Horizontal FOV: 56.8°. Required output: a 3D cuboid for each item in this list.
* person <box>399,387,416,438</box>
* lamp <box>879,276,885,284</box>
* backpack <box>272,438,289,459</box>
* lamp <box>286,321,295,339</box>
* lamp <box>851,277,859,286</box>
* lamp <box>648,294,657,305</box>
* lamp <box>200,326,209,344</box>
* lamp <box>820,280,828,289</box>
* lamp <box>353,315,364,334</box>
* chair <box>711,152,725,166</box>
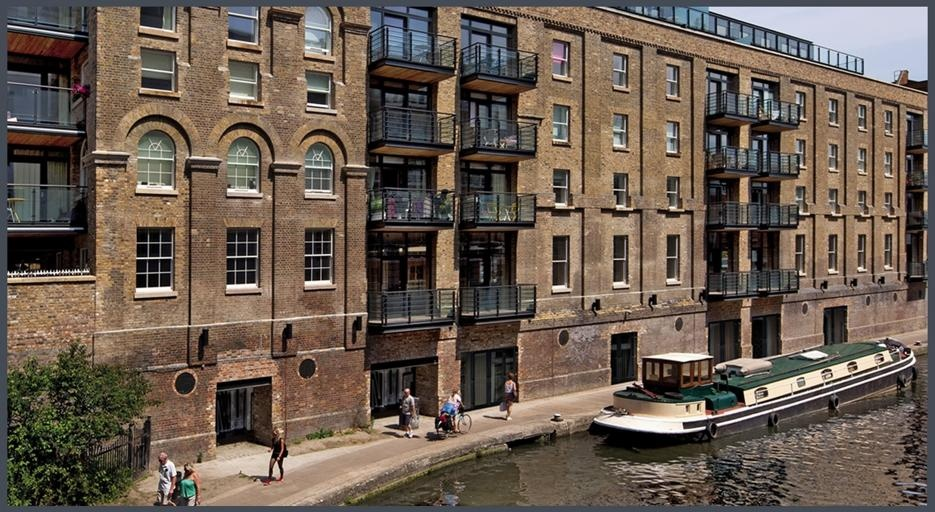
[{"bbox_3d":[-3.075,8.256,45.737,0.840,2.512,0.945,-3,-6,-4],"label":"person"},{"bbox_3d":[32.590,1.879,68.133,0.736,0.577,0.164,4,2,-33],"label":"lamp"},{"bbox_3d":[-8.914,9.133,41.096,0.695,0.918,0.361,0,-6,-29],"label":"backpack"},{"bbox_3d":[-9.229,3.827,44.842,0.428,0.801,0.189,-2,-6,-14],"label":"lamp"},{"bbox_3d":[29.415,1.967,65.597,0.791,0.554,0.248,2,-8,-43],"label":"lamp"},{"bbox_3d":[11.871,2.734,54.669,0.734,0.691,0.220,1,-7,-36],"label":"lamp"},{"bbox_3d":[-13.151,4.001,43.398,0.392,0.826,0.156,-1,-6,-24],"label":"lamp"},{"bbox_3d":[26.226,2.106,63.405,1.063,0.677,0.256,3,-8,-45],"label":"lamp"},{"bbox_3d":[-5.799,3.601,46.214,0.564,0.829,0.184,-2,-6,-15],"label":"lamp"},{"bbox_3d":[16.654,-6.517,57.262,0.839,0.705,0.773,0,7,22],"label":"chair"}]
